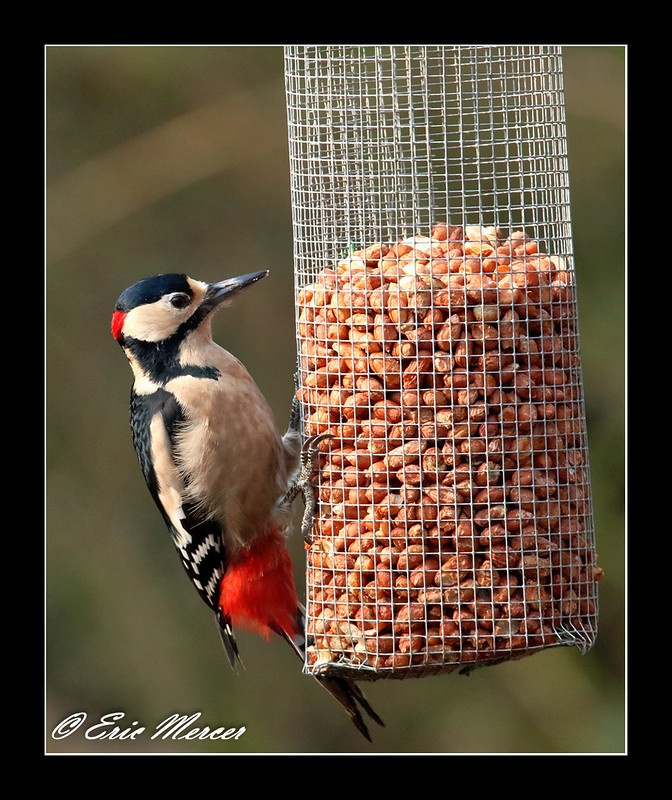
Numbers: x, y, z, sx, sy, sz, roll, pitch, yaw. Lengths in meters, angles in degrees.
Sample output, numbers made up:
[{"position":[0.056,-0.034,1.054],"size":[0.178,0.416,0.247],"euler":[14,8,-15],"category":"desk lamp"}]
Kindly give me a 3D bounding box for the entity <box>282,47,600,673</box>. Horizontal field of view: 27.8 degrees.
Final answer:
[{"position":[0.330,-0.196,4.657],"size":[0.849,2.178,0.933],"euler":[-6,6,-9],"category":"entity"}]

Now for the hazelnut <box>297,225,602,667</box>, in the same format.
[{"position":[0.376,0.218,4.557],"size":[0.816,1.524,0.842],"euler":[3,7,2],"category":"hazelnut"}]
